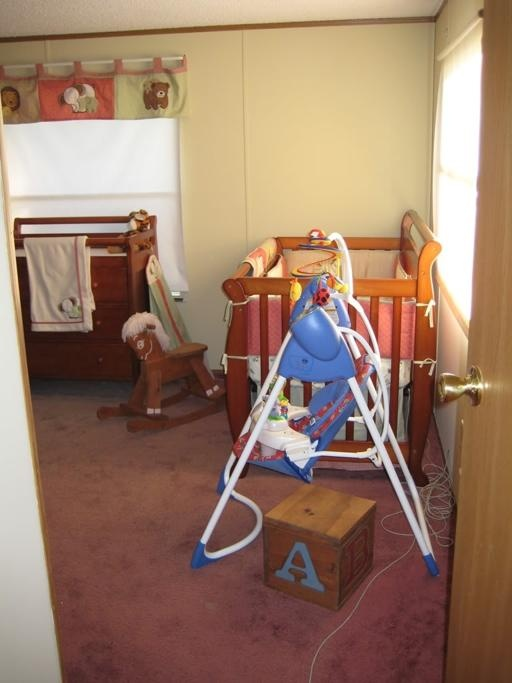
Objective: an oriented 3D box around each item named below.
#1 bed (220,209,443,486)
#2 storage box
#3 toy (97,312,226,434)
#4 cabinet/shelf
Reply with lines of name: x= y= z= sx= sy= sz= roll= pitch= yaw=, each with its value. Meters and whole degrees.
bed: x=0.444 y=-0.067 z=3.111 sx=1.114 sy=1.110 sz=1.581 roll=1 pitch=21 yaw=7
storage box: x=0.225 y=0.624 z=1.870 sx=0.317 sy=0.266 sz=0.323 roll=5 pitch=16 yaw=31
toy: x=-0.521 y=0.136 z=3.484 sx=0.842 sy=0.755 sz=0.515 roll=-11 pitch=13 yaw=-41
cabinet/shelf: x=-1.224 y=-0.285 z=3.818 sx=0.983 sy=0.980 sz=0.547 roll=1 pitch=29 yaw=6
